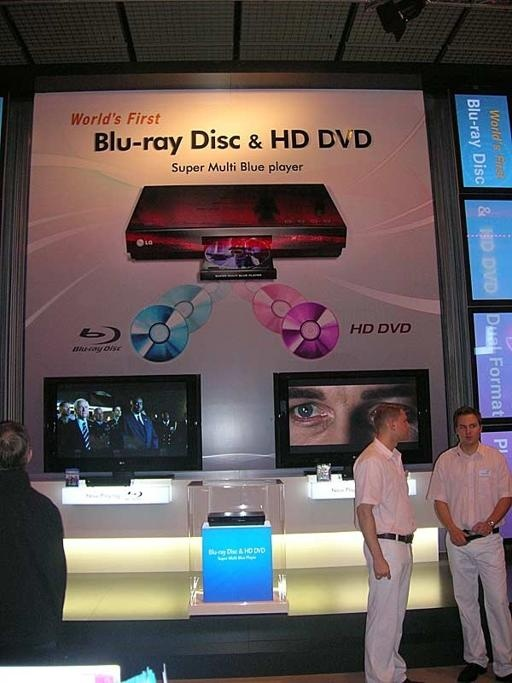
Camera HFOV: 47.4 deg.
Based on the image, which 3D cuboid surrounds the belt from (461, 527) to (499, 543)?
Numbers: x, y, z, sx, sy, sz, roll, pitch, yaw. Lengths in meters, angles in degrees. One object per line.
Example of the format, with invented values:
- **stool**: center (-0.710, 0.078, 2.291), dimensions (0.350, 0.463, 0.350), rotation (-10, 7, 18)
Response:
- **belt**: center (1.108, 0.959, 2.871), dimensions (0.164, 0.068, 0.115), rotation (-5, -4, 17)

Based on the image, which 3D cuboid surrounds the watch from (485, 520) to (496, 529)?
- **watch**: center (1.144, 0.895, 2.840), dimensions (0.023, 0.030, 0.034), rotation (-31, 13, -4)

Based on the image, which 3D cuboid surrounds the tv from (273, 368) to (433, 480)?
- **tv**: center (0.607, 0.524, 3.728), dimensions (0.776, 0.514, 0.217), rotation (-1, -1, -2)

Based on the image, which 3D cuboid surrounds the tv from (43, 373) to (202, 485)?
- **tv**: center (-0.901, 0.595, 3.927), dimensions (1.071, 0.718, 0.295), rotation (-2, -3, 6)
